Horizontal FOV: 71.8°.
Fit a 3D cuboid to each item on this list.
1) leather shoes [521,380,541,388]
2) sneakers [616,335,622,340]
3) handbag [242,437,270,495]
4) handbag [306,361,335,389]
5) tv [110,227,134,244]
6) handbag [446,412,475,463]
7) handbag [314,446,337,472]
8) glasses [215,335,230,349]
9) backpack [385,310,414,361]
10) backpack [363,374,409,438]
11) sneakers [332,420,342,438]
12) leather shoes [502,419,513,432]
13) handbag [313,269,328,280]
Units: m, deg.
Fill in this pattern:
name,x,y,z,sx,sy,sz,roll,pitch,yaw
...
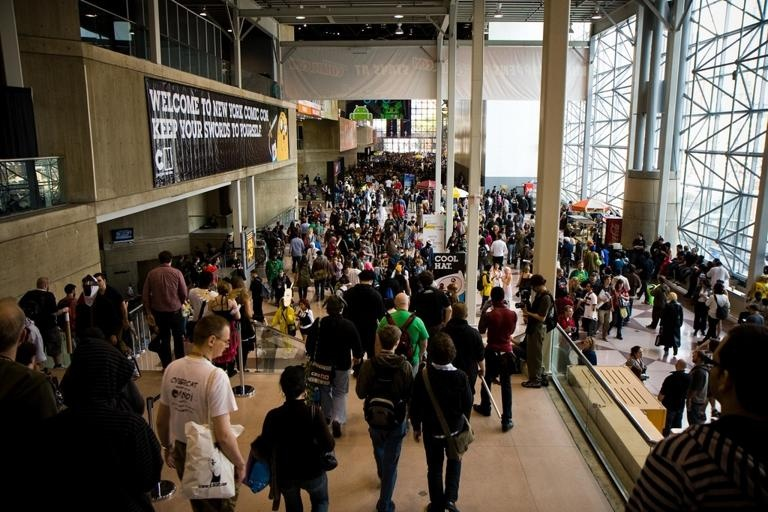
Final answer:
name,x,y,z,sx,sy,sz,roll,pitch,yaw
leather shoes,2.252,1.928,8.099,0.230,0.128,0.107,3,3,8
sneakers,6.315,2.189,14.281,0.162,0.127,0.062,-6,26,42
handbag,-1.144,1.879,4.789,0.229,0.545,0.212,-1,37,-20
handbag,-0.751,1.393,6.515,0.402,0.444,0.240,1,-2,1
tv,-10.473,-0.843,21.238,0.911,0.552,0.656,3,1,-23
handbag,0.750,1.804,5.417,0.237,0.472,0.321,12,36,37
handbag,-0.516,1.853,4.862,0.217,0.179,0.086,7,0,13
glasses,-1.457,0.754,4.822,0.071,0.116,0.249,0,10,-7
backpack,0.129,1.008,6.510,0.323,0.560,0.539,-2,5,8
backpack,0.003,1.462,5.446,0.385,0.585,0.317,5,9,6
sneakers,-0.611,2.210,6.820,0.079,0.270,0.108,-6,20,1
leather shoes,1.602,2.220,6.925,0.101,0.142,0.148,-1,-17,9
handbag,-1.926,0.564,15.882,0.295,0.252,0.319,3,14,11
